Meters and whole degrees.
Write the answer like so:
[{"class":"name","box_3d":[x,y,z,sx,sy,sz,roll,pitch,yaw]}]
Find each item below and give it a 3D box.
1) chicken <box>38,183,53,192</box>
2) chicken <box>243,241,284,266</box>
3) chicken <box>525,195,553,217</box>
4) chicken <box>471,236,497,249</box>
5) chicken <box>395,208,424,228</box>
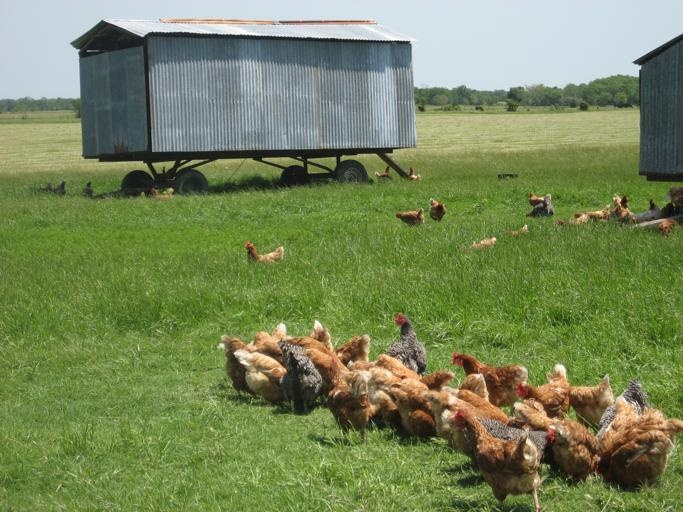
[{"class":"chicken","box_3d":[-12.150,-2.838,46.488,0.393,0.305,0.493,0,11,-1]},{"class":"chicken","box_3d":[-2.092,-0.122,30.909,1.070,0.473,0.802,-2,16,-8]},{"class":"chicken","box_3d":[6.327,-1.601,35.857,0.731,0.645,0.544,4,14,14]},{"class":"chicken","box_3d":[3.866,-0.375,30.759,0.371,0.161,0.184,-11,-17,-10]},{"class":"chicken","box_3d":[2.164,-1.303,35.174,0.731,0.796,0.486,0,18,14]}]
